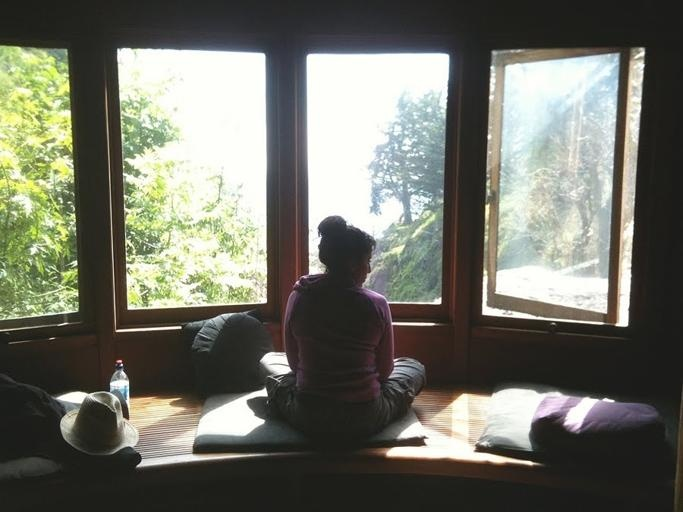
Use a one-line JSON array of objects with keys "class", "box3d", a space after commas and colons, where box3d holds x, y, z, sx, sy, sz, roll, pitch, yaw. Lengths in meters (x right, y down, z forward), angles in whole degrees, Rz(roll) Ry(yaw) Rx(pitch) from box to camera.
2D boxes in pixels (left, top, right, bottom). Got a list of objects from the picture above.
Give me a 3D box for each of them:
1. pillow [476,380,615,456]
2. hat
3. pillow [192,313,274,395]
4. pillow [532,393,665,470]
[{"class": "pillow", "box3d": [0.954, 0.877, 3.212, 0.398, 0.099, 0.416, -3, 12, 26]}, {"class": "hat", "box3d": [-1.210, 0.836, 3.036, 0.363, 0.290, 0.275, -3, 7, -20]}, {"class": "pillow", "box3d": [-0.659, 0.581, 3.618, 0.431, 0.457, 0.225, -1, -15, -6]}, {"class": "pillow", "box3d": [1.329, 0.848, 3.148, 0.589, 0.178, 0.606, -2, 6, 36]}]
